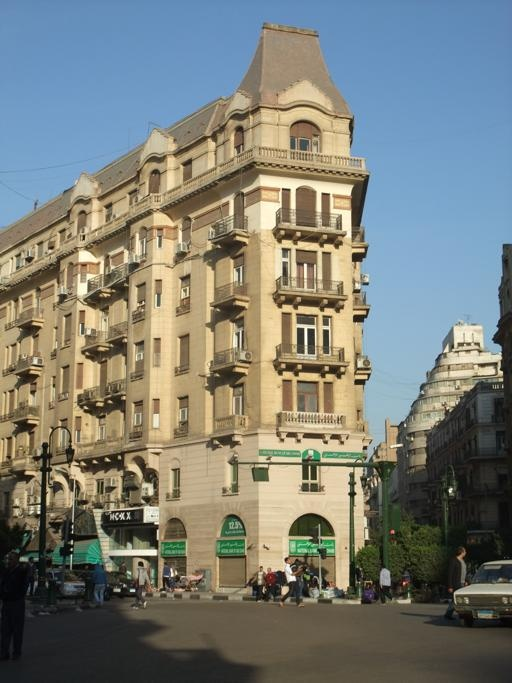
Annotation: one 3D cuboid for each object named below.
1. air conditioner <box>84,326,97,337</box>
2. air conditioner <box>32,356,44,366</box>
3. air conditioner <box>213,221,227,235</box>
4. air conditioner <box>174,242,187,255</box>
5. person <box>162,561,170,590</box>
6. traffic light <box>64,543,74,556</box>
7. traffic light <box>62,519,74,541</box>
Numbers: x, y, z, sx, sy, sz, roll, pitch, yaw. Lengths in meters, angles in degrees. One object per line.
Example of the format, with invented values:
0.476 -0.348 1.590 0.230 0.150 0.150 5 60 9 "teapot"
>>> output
-9.472 -0.484 59.970 0.757 0.596 0.432 2 -24 -2 "air conditioner"
-13.757 1.298 66.143 0.711 0.715 0.452 7 -14 -37 "air conditioner"
-1.728 -5.412 49.878 0.197 0.731 0.737 17 -20 -37 "air conditioner"
-3.841 -4.695 53.282 0.548 0.706 0.932 -3 1 -10 "air conditioner"
-4.182 11.050 48.921 0.478 0.602 0.928 2 24 -3 "person"
-6.479 7.205 36.184 0.425 0.279 0.619 1 -15 -5 "traffic light"
-6.289 6.280 34.925 0.375 0.704 1.224 4 -18 -11 "traffic light"
